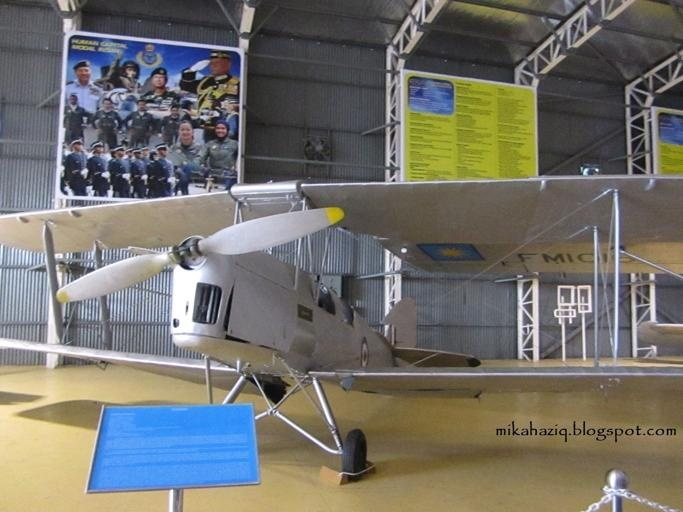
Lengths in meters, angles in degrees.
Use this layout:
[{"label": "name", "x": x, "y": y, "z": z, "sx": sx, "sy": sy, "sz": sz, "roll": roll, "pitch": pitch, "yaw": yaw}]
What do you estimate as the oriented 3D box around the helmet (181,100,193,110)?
[{"label": "helmet", "x": -3.055, "y": -2.999, "z": 19.014, "sx": 0.185, "sy": 0.184, "sz": 0.187, "roll": 9, "pitch": -30, "yaw": 11}]
